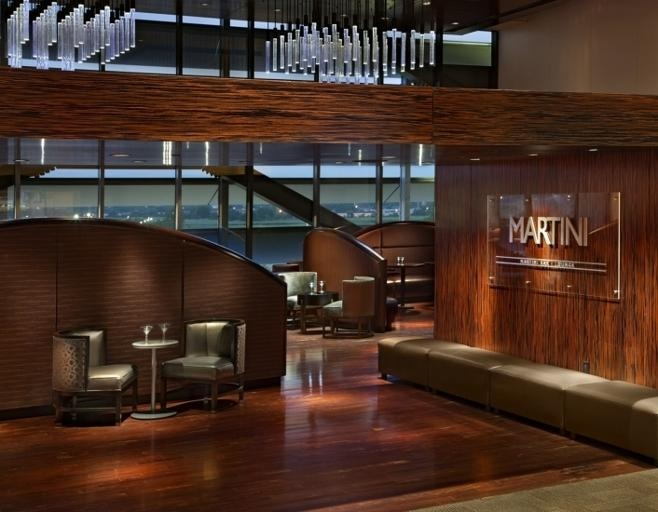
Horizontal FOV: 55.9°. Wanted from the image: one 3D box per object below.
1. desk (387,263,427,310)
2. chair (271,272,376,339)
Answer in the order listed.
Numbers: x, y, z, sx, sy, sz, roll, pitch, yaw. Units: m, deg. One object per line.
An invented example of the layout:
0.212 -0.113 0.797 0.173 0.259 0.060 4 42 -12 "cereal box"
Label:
1.688 0.635 14.332 1.235 1.028 1.060 -1 -2 -3 "desk"
0.005 0.908 11.961 1.259 1.087 1.832 -3 5 -35 "chair"
